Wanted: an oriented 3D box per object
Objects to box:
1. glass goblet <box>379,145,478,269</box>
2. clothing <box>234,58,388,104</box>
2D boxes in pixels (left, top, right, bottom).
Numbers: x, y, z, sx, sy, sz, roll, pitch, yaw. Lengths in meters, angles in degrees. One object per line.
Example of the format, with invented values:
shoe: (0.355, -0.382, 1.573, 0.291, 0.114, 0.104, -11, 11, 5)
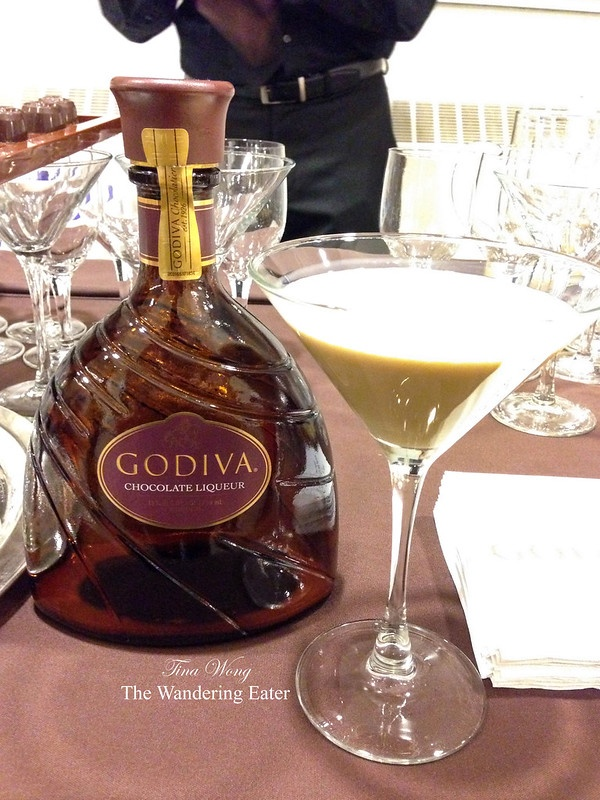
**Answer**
glass goblet: (0.144, -0.215, 0.819, 0.107, 0.139, 0.099, -25, 37, -34)
clothing: (0.031, -0.663, 1.539, 0.204, 0.054, 0.157, -15, 18, -9)
